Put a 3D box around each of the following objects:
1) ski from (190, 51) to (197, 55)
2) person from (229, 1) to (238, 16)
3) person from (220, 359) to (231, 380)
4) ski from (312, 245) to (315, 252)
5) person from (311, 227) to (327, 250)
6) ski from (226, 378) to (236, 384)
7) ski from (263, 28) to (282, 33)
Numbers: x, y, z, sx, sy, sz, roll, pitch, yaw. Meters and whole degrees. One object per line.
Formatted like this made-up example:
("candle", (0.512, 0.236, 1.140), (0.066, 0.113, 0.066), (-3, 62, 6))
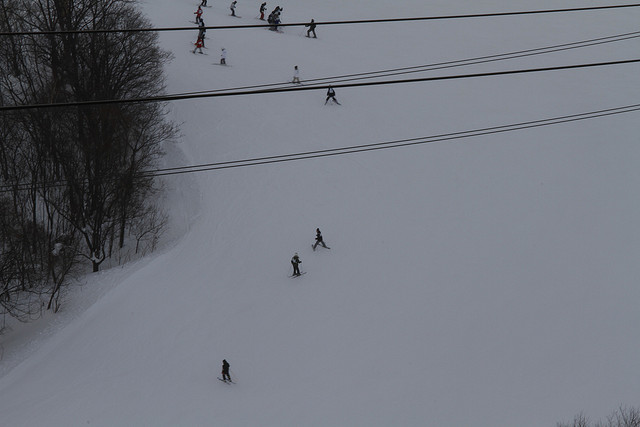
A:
("ski", (-12.149, -15.155, 88.001), (0.508, 0.155, 0.153), (45, -10, -37))
("person", (-8.926, -20.800, 94.558), (0.732, 0.798, 1.803), (-4, -11, -14))
("person", (-6.778, 11.280, 66.426), (0.621, 1.387, 0.864), (2, -4, -10))
("ski", (-0.472, 2.828, 72.858), (0.135, 0.170, 0.659), (26, 28, -20))
("person", (-0.026, 2.074, 72.907), (1.031, 1.624, 1.848), (2, -4, -5))
("ski", (-6.473, 12.047, 66.374), (0.551, 0.305, 0.080), (2, -4, -8))
("ski", (-4.654, -18.017, 91.858), (1.154, 0.175, 0.151), (23, -11, 7))
